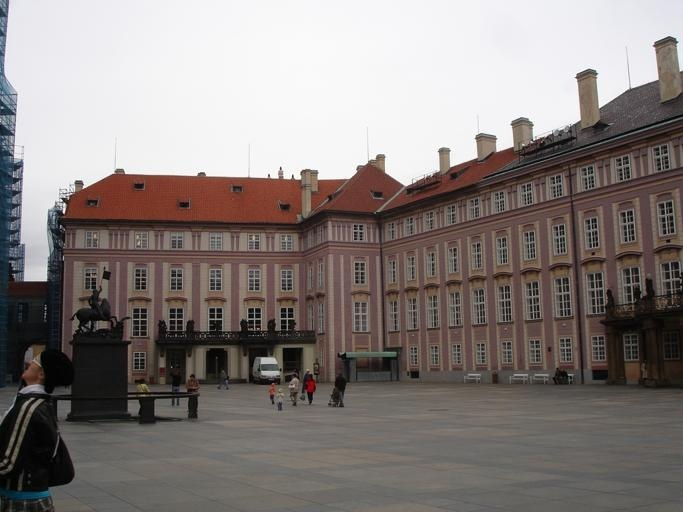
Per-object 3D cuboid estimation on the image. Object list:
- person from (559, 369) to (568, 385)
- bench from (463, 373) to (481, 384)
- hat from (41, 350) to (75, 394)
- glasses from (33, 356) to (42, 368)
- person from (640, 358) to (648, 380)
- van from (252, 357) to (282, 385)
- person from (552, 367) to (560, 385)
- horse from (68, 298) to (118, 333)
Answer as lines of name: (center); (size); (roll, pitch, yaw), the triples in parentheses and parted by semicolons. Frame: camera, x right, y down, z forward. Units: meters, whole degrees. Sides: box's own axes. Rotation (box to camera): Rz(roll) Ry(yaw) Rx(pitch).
person: (15.830, 8.620, 46.936); (0.729, 1.389, 0.788); (-2, -10, 14)
bench: (10.931, 10.051, 54.828); (0.460, 0.723, 1.832); (5, -12, -29)
hat: (-3.090, 1.220, 7.141); (0.379, 0.495, 0.348); (-2, -9, 27)
glasses: (-3.300, 1.143, 7.102); (0.103, 0.032, 0.106); (22, -14, 22)
person: (18.567, 6.932, 40.261); (0.366, 1.168, 1.423); (-5, -11, 23)
van: (-6.985, 10.619, 61.296); (2.044, 2.242, 4.226); (1, -14, -12)
person: (15.551, 8.572, 47.459); (0.473, 1.218, 1.382); (-4, -11, 17)
horse: (-10.721, 2.483, 28.138); (1.286, 1.685, 2.857); (3, -11, -23)
